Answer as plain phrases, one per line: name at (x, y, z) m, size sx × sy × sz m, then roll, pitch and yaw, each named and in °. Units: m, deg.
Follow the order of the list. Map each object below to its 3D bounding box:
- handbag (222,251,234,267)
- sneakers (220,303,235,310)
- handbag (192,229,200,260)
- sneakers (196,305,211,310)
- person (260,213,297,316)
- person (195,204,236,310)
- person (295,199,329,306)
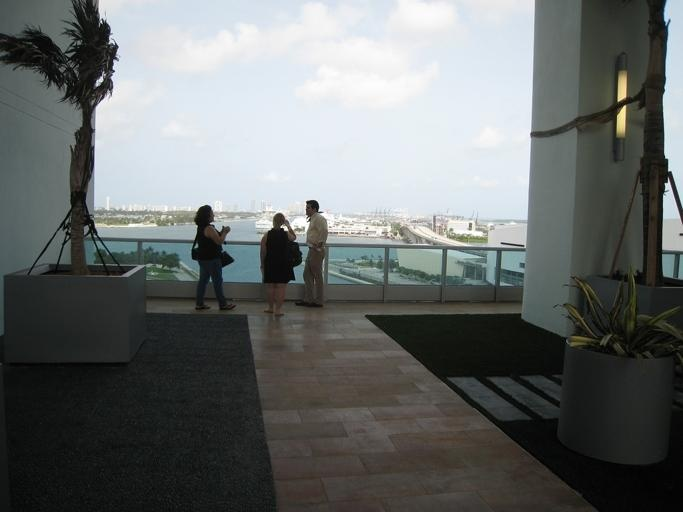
handbag at (-1.795, 0.070, 7.315) m, size 0.207 × 0.210 × 0.115 m, roll 7°, pitch 28°, yaw 38°
sneakers at (-1.771, 0.808, 7.226) m, size 0.143 × 0.067 × 0.082 m, roll -6°, pitch 14°, yaw -17°
handbag at (-2.231, -0.147, 7.106) m, size 0.105 × 0.402 × 0.540 m, roll -1°, pitch 9°, yaw -18°
sneakers at (-2.108, 0.778, 7.119) m, size 0.210 × 0.087 × 0.079 m, roll -1°, pitch 7°, yaw -22°
person at (-0.954, 0.133, 7.025) m, size 0.514 × 1.524 × 0.527 m, roll 1°, pitch 8°, yaw -8°
person at (-1.970, 0.037, 7.170) m, size 0.642 × 1.608 × 0.744 m, roll 0°, pitch 8°, yaw -13°
person at (-0.494, -0.044, 7.793) m, size 0.503 × 1.735 × 0.516 m, roll 1°, pitch 8°, yaw -3°
